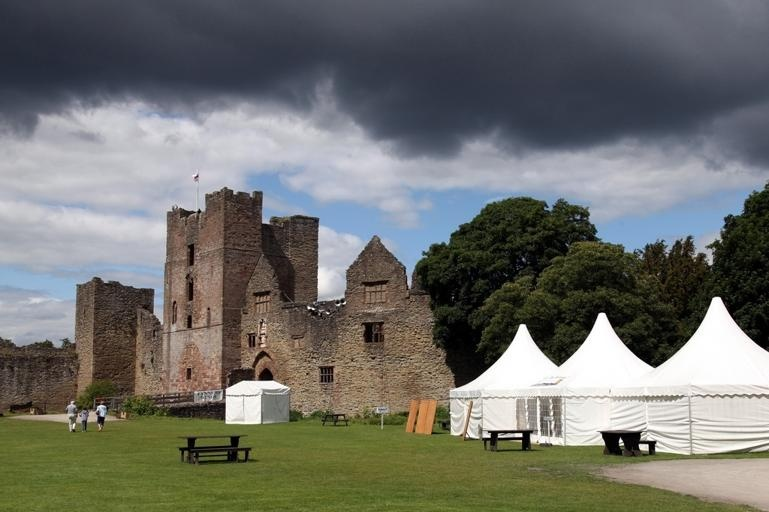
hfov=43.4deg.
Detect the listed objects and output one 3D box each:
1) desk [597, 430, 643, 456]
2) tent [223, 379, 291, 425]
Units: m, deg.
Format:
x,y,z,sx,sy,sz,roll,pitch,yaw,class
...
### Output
x,y,z,sx,sy,sz,roll,pitch,yaw,class
10.164,7.918,41.291,1.520,1.175,2.708,-3,-14,11,desk
-8.023,9.253,61.425,3.839,2.758,1.963,3,-15,-13,tent
